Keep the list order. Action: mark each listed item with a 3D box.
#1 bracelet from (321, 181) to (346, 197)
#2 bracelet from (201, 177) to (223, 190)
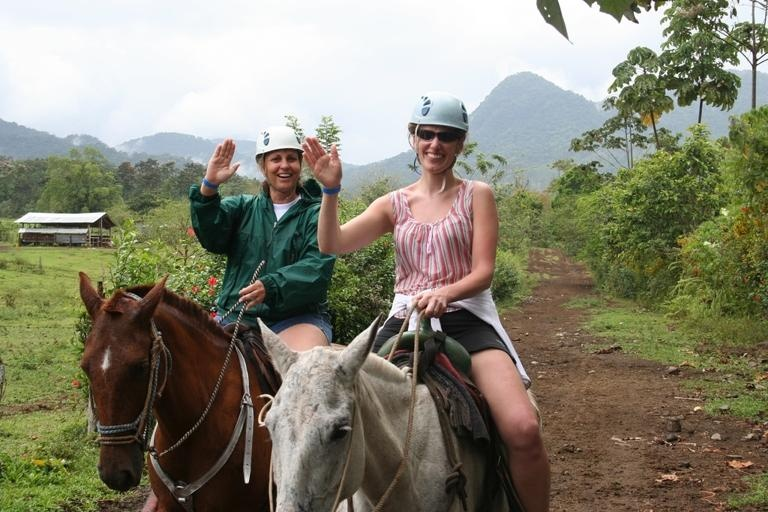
[{"bbox_3d":[-0.517,-0.662,6.310,0.169,0.114,0.182,0,9,6],"label":"bracelet"},{"bbox_3d":[-2.128,-0.879,7.621,0.150,0.061,0.155,9,-44,3],"label":"bracelet"}]
